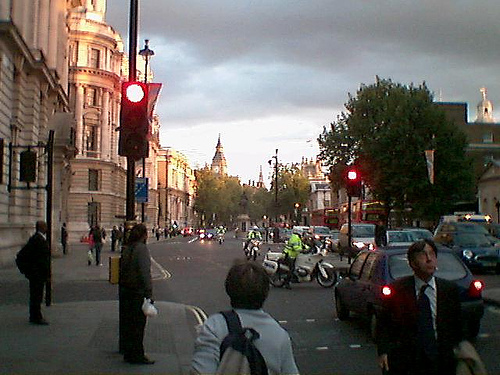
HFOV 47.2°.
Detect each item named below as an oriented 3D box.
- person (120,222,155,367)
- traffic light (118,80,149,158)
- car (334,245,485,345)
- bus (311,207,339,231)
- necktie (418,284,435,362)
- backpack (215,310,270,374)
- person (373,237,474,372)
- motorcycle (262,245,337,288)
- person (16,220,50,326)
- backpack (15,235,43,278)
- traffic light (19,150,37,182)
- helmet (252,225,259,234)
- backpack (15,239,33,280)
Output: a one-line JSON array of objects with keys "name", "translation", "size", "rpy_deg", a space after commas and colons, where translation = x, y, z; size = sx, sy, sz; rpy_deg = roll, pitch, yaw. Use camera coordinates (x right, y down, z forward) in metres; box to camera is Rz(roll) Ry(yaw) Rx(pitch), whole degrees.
[{"name": "person", "translation": [-1.823, 1.668, 9.080], "size": [0.594, 2.078, 0.670], "rpy_deg": [2, 1, -27]}, {"name": "traffic light", "translation": [-1.987, -1.203, 9.822], "size": [0.486, 1.359, 0.476], "rpy_deg": [2, -3, -14]}, {"name": "car", "translation": [2.935, 2.083, 11.217], "size": [1.797, 1.427, 3.237], "rpy_deg": [-1, 2, -11]}, {"name": "bus", "translation": [8.677, 3.888, 65.454], "size": [1.855, 2.994, 6.030], "rpy_deg": [0, -5, -7]}, {"name": "necktie", "translation": [1.774, 1.264, 5.730], "size": [0.148, 0.744, 0.059], "rpy_deg": [-1, 31, 24]}, {"name": "backpack", "translation": [-0.051, 1.277, 4.698], "size": [0.437, 0.486, 0.285], "rpy_deg": [1, -3, 7]}, {"name": "person", "translation": [1.826, 1.200, 5.827], "size": [0.797, 1.523, 0.706], "rpy_deg": [5, -4, -32]}, {"name": "motorcycle", "translation": [1.630, 2.597, 19.059], "size": [2.488, 1.477, 0.969], "rpy_deg": [-4, -15, 17]}, {"name": "person", "translation": [-4.356, 1.744, 11.656], "size": [0.637, 2.081, 0.745], "rpy_deg": [-3, -6, 45]}, {"name": "backpack", "translation": [-4.485, 1.391, 11.576], "size": [0.485, 0.849, 0.327], "rpy_deg": [2, -3, -19]}, {"name": "traffic light", "translation": [-5.022, -0.354, 13.051], "size": [0.458, 0.740, 0.466], "rpy_deg": [4, -40, -24]}, {"name": "helmet", "translation": [0.369, 2.413, 33.105], "size": [0.256, 0.354, 0.349], "rpy_deg": [-4, -33, -3]}, {"name": "backpack", "translation": [-4.541, 1.445, 11.488], "size": [0.210, 0.627, 0.437], "rpy_deg": [4, 28, -14]}]
